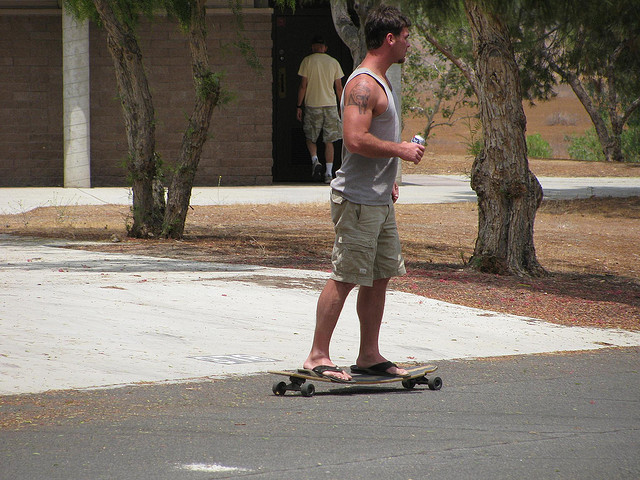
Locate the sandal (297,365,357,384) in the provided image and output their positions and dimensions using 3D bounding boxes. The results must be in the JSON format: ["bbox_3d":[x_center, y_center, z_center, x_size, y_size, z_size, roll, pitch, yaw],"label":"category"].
[{"bbox_3d":[0.051,1.029,8.769,0.438,0.101,0.162,4,5,13],"label":"sandal"}]

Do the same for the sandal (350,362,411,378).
[{"bbox_3d":[0.482,1.013,8.986,0.462,0.102,0.158,0,3,18],"label":"sandal"}]

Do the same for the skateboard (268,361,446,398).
[{"bbox_3d":[0.278,1.097,8.794,1.637,0.204,0.444,0,1,-24],"label":"skateboard"}]

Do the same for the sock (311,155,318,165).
[{"bbox_3d":[-0.119,-1.715,23.494,0.109,0.095,0.157,-2,-4,7],"label":"sock"}]

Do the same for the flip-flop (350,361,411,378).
[{"bbox_3d":[0.479,1.027,8.987,0.459,0.109,0.159,0,5,12],"label":"flip-flop"}]

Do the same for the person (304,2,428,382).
[{"bbox_3d":[0.405,-0.383,8.872,0.700,2.881,1.095,7,13,21],"label":"person"}]

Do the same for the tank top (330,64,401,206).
[{"bbox_3d":[0.378,-0.829,8.939,0.548,1.066,0.384,1,13,-6],"label":"tank top"}]

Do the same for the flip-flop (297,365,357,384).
[{"bbox_3d":[0.046,1.024,8.770,0.445,0.107,0.167,5,4,14],"label":"flip-flop"}]
